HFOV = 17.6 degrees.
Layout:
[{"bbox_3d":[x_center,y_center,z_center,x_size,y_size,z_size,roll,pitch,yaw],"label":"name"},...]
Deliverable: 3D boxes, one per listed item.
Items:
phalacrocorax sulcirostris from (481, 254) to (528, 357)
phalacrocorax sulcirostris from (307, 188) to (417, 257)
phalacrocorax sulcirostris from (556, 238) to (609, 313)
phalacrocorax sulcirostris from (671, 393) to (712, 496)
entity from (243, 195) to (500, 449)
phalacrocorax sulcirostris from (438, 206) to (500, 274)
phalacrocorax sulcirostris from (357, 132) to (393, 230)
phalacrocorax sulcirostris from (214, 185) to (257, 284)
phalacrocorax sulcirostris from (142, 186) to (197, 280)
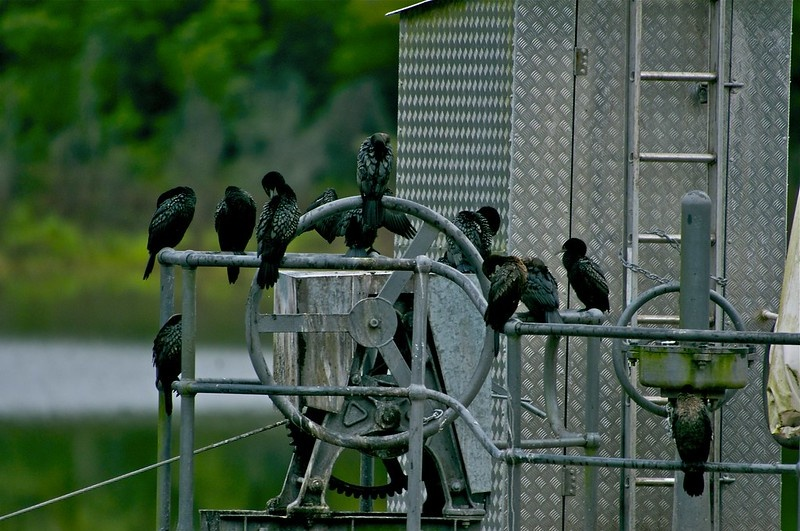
[{"bbox_3d":[1.103,0.306,27.332,0.447,0.655,0.703,1,21,2],"label":"phalacrocorax sulcirostris"},{"bbox_3d":[-0.514,-0.471,29.255,0.903,0.406,0.831,11,-6,9],"label":"phalacrocorax sulcirostris"},{"bbox_3d":[2.107,0.160,28.787,0.472,0.867,0.825,-6,22,-17],"label":"phalacrocorax sulcirostris"},{"bbox_3d":[3.154,1.827,27.068,0.339,1.098,0.642,-2,-5,-4],"label":"phalacrocorax sulcirostris"},{"bbox_3d":[-0.311,0.583,27.857,2.746,2.939,2.848,0,29,-4],"label":"entity"},{"bbox_3d":[0.828,-0.356,29.008,0.549,0.786,0.323,10,-26,4],"label":"phalacrocorax sulcirostris"},{"bbox_3d":[-0.253,-0.912,27.990,0.321,1.046,0.428,2,-14,11],"label":"phalacrocorax sulcirostris"},{"bbox_3d":[-1.782,-0.264,28.544,0.364,1.151,0.593,4,23,-10],"label":"phalacrocorax sulcirostris"},{"bbox_3d":[-2.519,-0.471,28.672,0.385,0.712,0.636,16,25,35],"label":"phalacrocorax sulcirostris"}]
